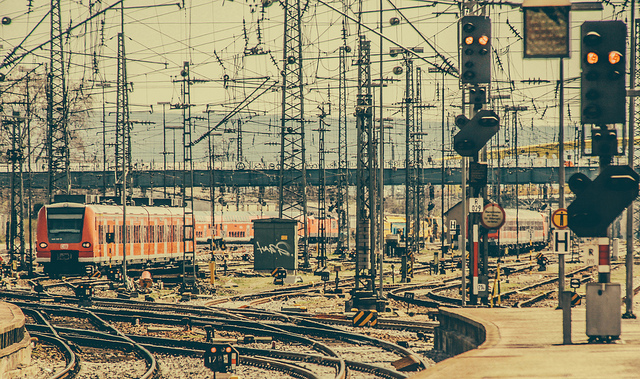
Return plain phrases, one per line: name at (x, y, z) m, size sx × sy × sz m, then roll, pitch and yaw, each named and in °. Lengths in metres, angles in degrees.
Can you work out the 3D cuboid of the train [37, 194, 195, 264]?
train at (-12.345, 2.882, 109.918) m, size 11.767 × 5.389 × 16.247 m, roll -4°, pitch -3°, yaw 30°
